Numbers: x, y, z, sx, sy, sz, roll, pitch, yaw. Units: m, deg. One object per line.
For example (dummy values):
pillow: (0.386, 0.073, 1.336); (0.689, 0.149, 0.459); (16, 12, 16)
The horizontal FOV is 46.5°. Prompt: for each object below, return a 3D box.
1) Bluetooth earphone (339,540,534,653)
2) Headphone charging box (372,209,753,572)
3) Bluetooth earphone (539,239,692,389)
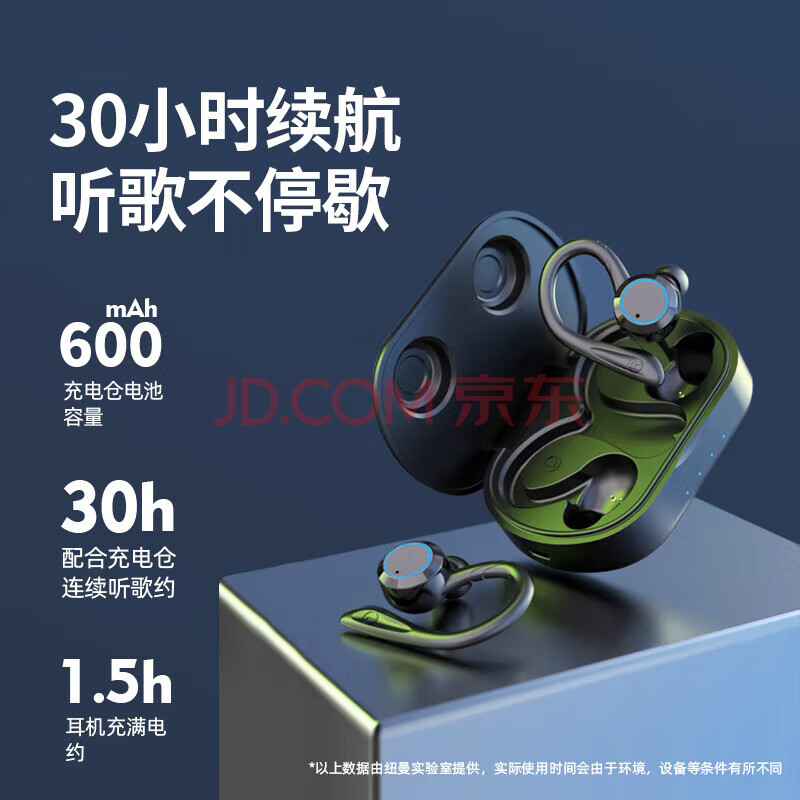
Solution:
Bluetooth earphone: (0.032, 0.164, 0.806); (0.123, 0.097, 0.124); (17, 24, 40)
Headphone charging box: (0.134, -0.003, 0.910); (0.252, 0.396, 0.308); (-4, 21, -5)
Bluetooth earphone: (0.201, -0.087, 0.906); (0.156, 0.133, 0.114); (10, 18, 37)
